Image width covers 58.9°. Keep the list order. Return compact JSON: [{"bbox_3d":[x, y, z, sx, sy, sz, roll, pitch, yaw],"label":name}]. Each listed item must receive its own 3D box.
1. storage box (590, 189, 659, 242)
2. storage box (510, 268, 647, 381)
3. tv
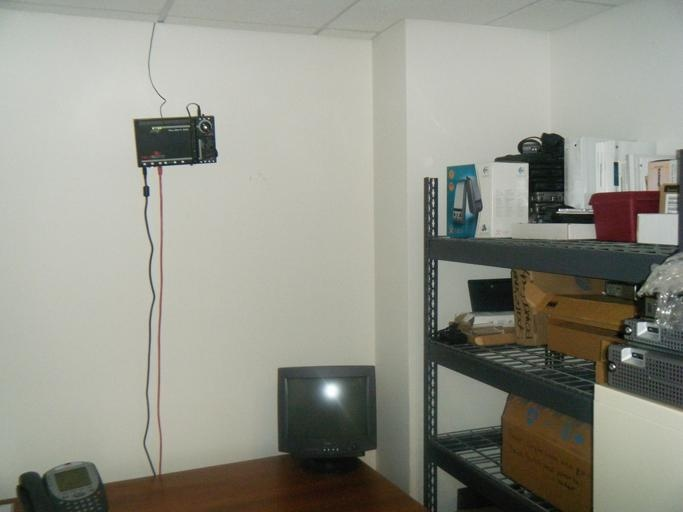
[{"bbox_3d":[0.997,-0.145,2.132,0.149,0.187,0.261,-3,4,-18],"label":"storage box"},{"bbox_3d":[0.880,0.259,2.295,0.306,0.245,0.359,0,1,-22],"label":"storage box"},{"bbox_3d":[-0.067,0.666,2.777,0.438,0.416,0.299,-1,11,-5],"label":"tv"}]
